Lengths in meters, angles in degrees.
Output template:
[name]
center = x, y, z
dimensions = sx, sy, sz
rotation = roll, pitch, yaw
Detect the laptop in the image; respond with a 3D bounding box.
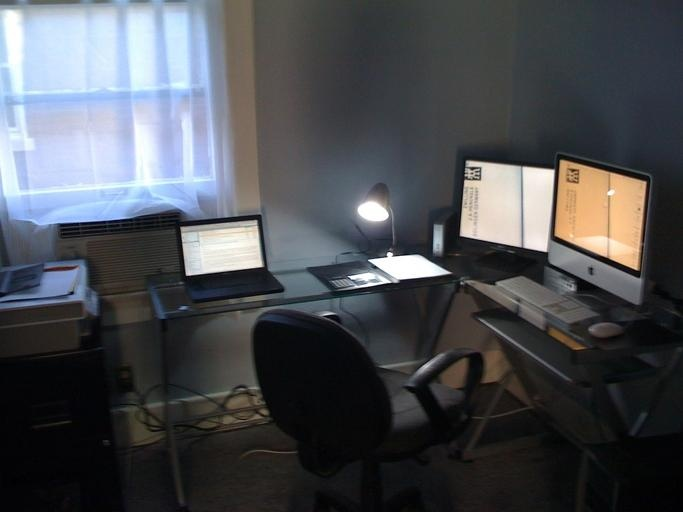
[laptop]
center = -0.544, 0.008, 2.509
dimensions = 0.483, 0.404, 0.345
rotation = -6, 16, -17

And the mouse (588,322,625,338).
[mouse]
center = 1.005, 0.277, 2.029
dimensions = 0.139, 0.042, 0.087
rotation = -12, 15, -28

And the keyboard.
[keyboard]
center = 0.857, 0.179, 2.269
dimensions = 0.148, 0.030, 0.298
rotation = -16, 27, -31

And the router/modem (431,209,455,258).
[router/modem]
center = 0.540, -0.112, 2.838
dimensions = 0.074, 0.222, 0.209
rotation = 13, 26, 26

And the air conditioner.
[air conditioner]
center = -1.121, -0.044, 2.687
dimensions = 0.612, 0.382, 0.347
rotation = -10, 24, -40

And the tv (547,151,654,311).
[tv]
center = 1.084, -0.093, 2.219
dimensions = 0.199, 0.546, 0.547
rotation = -8, 21, -16

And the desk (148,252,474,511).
[desk]
center = -0.212, 0.575, 2.360
dimensions = 1.057, 0.652, 0.392
rotation = -7, 22, -20

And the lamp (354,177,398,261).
[lamp]
center = 0.180, -0.203, 2.821
dimensions = 0.212, 0.381, 0.343
rotation = -3, 14, 5
